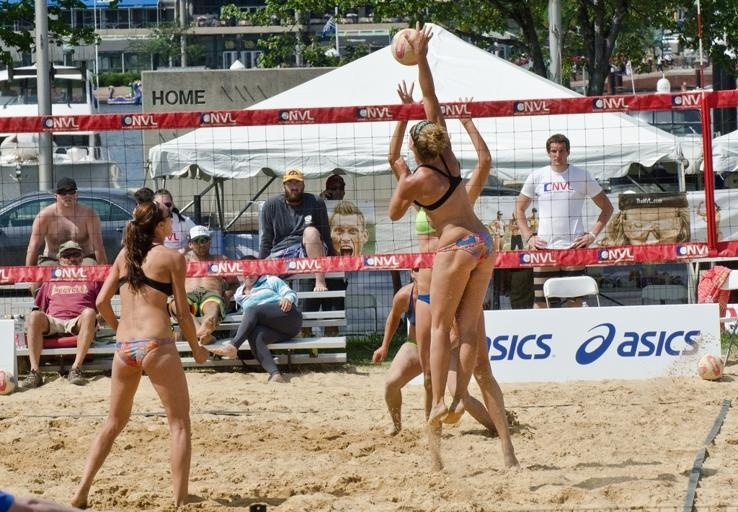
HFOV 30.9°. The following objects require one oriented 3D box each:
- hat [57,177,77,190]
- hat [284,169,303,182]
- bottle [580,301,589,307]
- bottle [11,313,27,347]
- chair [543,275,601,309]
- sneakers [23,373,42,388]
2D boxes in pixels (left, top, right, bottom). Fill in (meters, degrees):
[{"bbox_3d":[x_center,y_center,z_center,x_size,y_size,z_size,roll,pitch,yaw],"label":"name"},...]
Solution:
[{"bbox_3d":[-4.531,-1.049,19.556,0.279,0.164,0.316,-3,7,-15],"label":"hat"},{"bbox_3d":[-1.163,-1.186,19.807,0.246,0.156,0.371,1,-1,-1],"label":"hat"},{"bbox_3d":[3.298,0.713,20.334,0.126,0.131,0.032,-6,-16,31],"label":"bottle"},{"bbox_3d":[-5.159,1.056,19.393,0.176,0.438,0.360,-3,6,-16],"label":"bottle"},{"bbox_3d":[2.962,0.495,19.542,0.798,0.470,0.788,-1,6,7],"label":"chair"},{"bbox_3d":[-4.869,1.719,18.984,0.308,0.207,0.193,-5,7,-27],"label":"sneakers"}]
